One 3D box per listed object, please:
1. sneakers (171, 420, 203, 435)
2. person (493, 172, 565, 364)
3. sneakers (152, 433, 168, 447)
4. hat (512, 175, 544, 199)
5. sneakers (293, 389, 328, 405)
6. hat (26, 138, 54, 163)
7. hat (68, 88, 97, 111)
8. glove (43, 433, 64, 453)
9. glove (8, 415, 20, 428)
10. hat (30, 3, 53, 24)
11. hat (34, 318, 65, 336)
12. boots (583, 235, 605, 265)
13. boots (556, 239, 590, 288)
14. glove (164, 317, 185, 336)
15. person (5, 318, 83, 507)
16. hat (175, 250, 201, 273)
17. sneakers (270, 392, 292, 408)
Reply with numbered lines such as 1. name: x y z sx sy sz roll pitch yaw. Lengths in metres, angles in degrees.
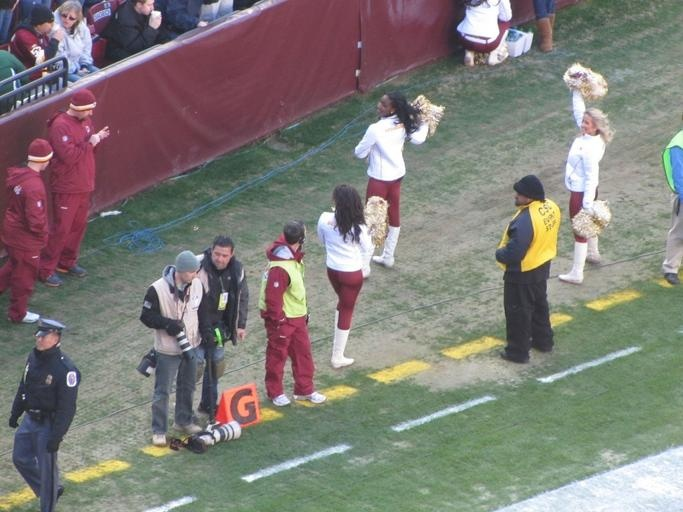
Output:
1. sneakers: -1.759 1.986 18.228 0.376 0.149 0.116 -2 42 -3
2. person: 2.210 0.162 18.891 0.951 2.217 0.387 -11 14 1
3. sneakers: -2.062 2.084 18.052 0.186 0.152 0.199 -11 12 -9
4. hat: 2.216 -0.777 18.719 0.317 0.316 0.194 -9 13 1
5. sneakers: -0.342 1.670 18.626 0.341 0.114 0.160 0 15 12
6. hat: -3.725 -1.292 19.665 0.323 0.243 0.313 -15 37 -33
7. hat: -3.240 -1.927 20.072 0.337 0.221 0.299 13 29 3
8. glove: -3.074 2.018 17.009 0.221 0.162 0.183 10 -8 -41
9. glove: -3.562 1.812 17.334 0.139 0.115 0.056 4 11 -35
10. hat: -3.955 -3.200 21.050 0.320 0.219 0.206 -1 54 -5
11. hat: -3.109 0.771 17.088 0.264 0.109 0.211 -5 11 -40
12. boots: 3.257 -0.041 20.519 0.208 0.362 0.406 -2 25 6
13. boots: 2.981 0.130 20.361 0.510 0.658 0.219 19 46 27
14. glove: -1.846 0.787 17.657 0.214 0.206 0.135 -12 13 -11
15. person: -3.191 1.723 17.142 0.909 2.063 0.587 -13 14 -8
16. hat: -1.710 0.073 17.603 0.261 0.190 0.260 -10 11 -36
17. sneakers: -0.693 1.694 18.552 0.131 0.083 0.224 -12 11 -42
